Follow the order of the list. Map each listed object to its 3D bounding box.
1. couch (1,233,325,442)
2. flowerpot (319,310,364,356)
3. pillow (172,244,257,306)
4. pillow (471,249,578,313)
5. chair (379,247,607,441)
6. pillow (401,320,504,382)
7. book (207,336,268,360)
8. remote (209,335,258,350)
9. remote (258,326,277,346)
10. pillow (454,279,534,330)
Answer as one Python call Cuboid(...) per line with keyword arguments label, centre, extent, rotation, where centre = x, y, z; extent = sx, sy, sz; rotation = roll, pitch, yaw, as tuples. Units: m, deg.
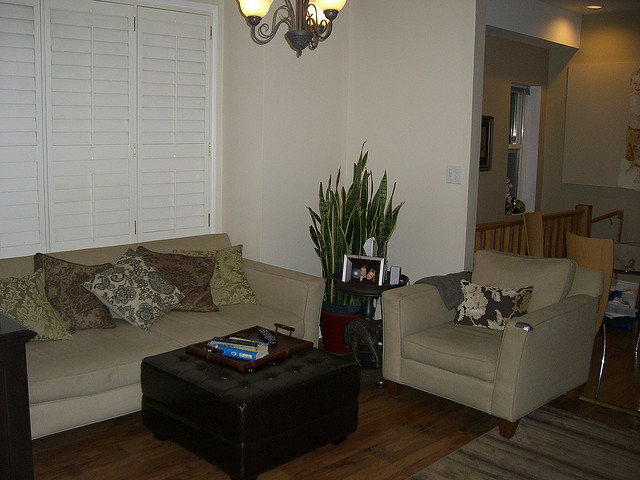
Cuboid(label="couch", centre=(-1.118, 0.512, 3.156), extent=(1.730, 0.835, 0.957), rotation=(-5, 11, -35))
Cuboid(label="flowerpot", centre=(0.187, 0.752, 3.803), extent=(0.340, 0.292, 0.337), rotation=(2, 2, 7))
Cuboid(label="pillow", centre=(-0.693, 0.290, 3.537), extent=(0.494, 0.488, 0.146), rotation=(-4, -17, -34))
Cuboid(label="pillow", centre=(1.421, 0.371, 3.330), extent=(0.679, 0.499, 0.248), rotation=(7, 15, 35))
Cuboid(label="chair", centre=(1.208, 0.656, 3.276), extent=(1.255, 0.971, 1.333), rotation=(4, 7, 35))
Cuboid(label="pillow", centre=(0.862, 0.718, 3.063), extent=(0.613, 0.182, 0.474), rotation=(5, 10, 24))
Cuboid(label="book", centre=(-0.461, 0.594, 2.595), extent=(0.351, 0.078, 0.146), rotation=(4, 10, 17))
Cuboid(label="remote", centre=(-0.474, 0.570, 2.577), extent=(0.162, 0.034, 0.106), rotation=(7, 11, 23))
Cuboid(label="remote", centre=(-0.314, 0.578, 2.782), extent=(0.054, 0.048, 0.162), rotation=(-35, 25, -10))
Cuboid(label="pillow", centre=(1.210, 0.455, 3.229), extent=(0.496, 0.304, 0.194), rotation=(6, 10, 27))
